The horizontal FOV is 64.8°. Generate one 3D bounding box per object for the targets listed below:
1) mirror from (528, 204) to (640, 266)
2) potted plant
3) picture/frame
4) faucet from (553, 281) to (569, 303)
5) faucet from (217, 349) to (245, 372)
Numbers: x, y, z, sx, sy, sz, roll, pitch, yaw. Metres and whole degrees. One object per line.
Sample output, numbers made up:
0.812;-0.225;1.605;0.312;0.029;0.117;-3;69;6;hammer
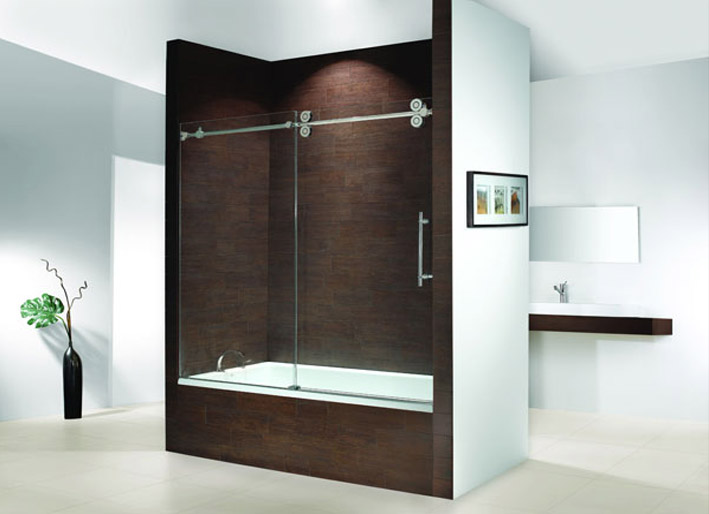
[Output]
2.416;-0.238;5.868;1.097;0.625;0.016;0;-5;9;mirror
-3.088;0.835;5.770;0.611;1.224;0.389;0;0;-24;potted plant
1.064;-0.415;4.088;0.620;0.361;0.045;-3;3;-36;picture/frame
2.164;0.359;5.834;0.150;0.211;0.116;0;0;21;faucet
-0.955;0.786;4.413;0.252;0.168;0.180;3;4;23;faucet
